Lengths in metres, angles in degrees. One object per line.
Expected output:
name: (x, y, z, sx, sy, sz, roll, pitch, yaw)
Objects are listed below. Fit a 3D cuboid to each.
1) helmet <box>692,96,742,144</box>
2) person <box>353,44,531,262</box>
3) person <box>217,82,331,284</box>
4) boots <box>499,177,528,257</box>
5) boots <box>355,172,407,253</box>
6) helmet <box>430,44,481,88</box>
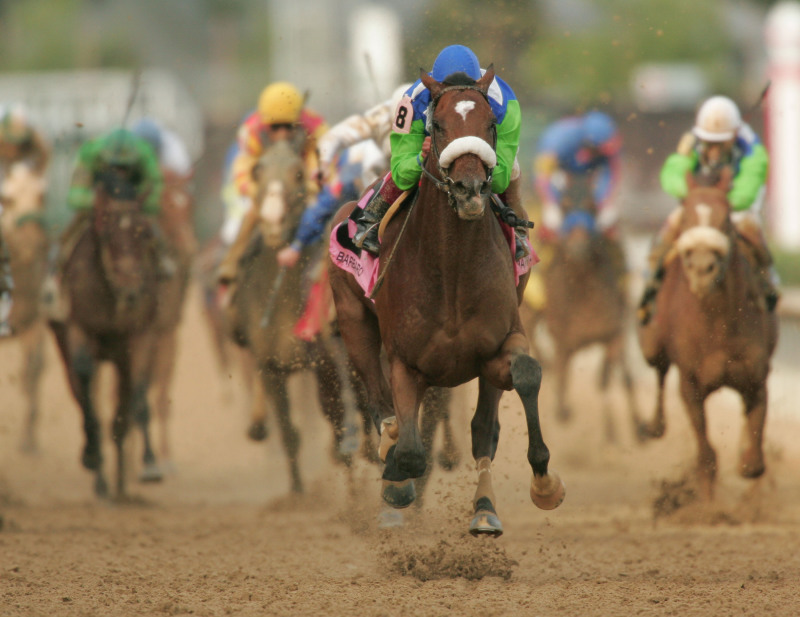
helmet: (2.006, -1.233, 11.523, 0.284, 0.194, 0.396, 5, 33, 13)
person: (0.222, -0.914, 10.594, 1.030, 1.241, 0.766, 1, 6, 0)
person: (-0.885, -1.083, 12.066, 0.442, 0.966, 1.714, 13, 30, -3)
boots: (0.690, -0.580, 10.836, 0.124, 0.527, 0.156, 2, -18, -20)
boots: (-0.179, -0.589, 10.851, 0.194, 0.355, 0.646, 40, 8, -11)
helmet: (0.309, -1.423, 10.517, 0.295, 0.228, 0.409, 1, 6, 1)
